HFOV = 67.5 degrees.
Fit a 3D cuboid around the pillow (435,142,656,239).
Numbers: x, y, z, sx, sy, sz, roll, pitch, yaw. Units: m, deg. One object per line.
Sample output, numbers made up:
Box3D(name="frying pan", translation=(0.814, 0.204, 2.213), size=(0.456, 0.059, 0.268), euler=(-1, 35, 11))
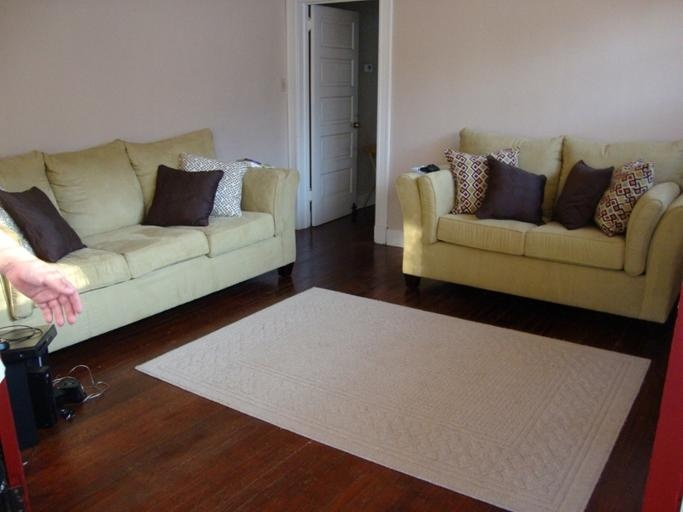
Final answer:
Box3D(name="pillow", translation=(1.453, -0.498, 3.736), size=(1.405, 0.477, 0.533), euler=(14, 27, 31))
